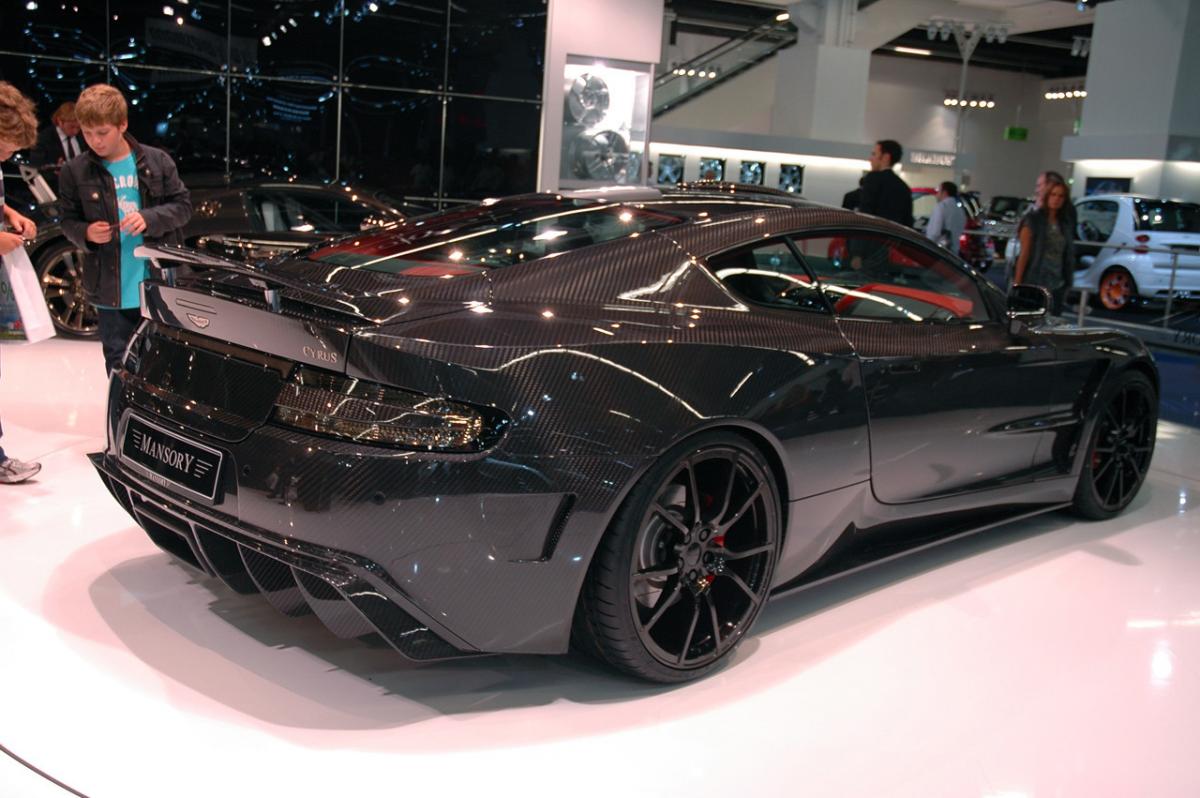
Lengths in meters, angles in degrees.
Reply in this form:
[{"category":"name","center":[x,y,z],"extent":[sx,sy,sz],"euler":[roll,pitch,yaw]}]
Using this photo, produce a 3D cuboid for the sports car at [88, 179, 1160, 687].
[{"category":"sports car","center":[0.463,0.092,3.334],"extent":[3.828,1.063,1.926],"euler":[-9,16,-33]}]
